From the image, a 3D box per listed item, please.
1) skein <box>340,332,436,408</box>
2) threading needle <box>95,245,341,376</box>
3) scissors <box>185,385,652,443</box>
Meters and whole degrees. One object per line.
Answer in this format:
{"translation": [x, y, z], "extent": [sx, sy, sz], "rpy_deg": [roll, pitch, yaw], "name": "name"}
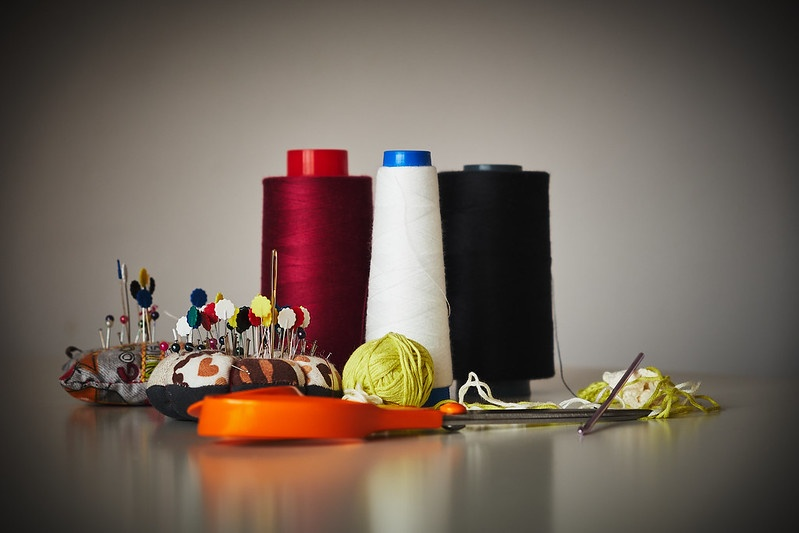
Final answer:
{"translation": [-0.036, 0.258, 2.052], "extent": [0.219, 0.183, 0.165], "rpy_deg": [0, 11, -9], "name": "skein"}
{"translation": [-0.462, 0.131, 2.110], "extent": [0.563, 0.211, 0.377], "rpy_deg": [2, -3, -37], "name": "threading needle"}
{"translation": [0.055, 0.332, 1.835], "extent": [1.010, 0.119, 0.301], "rpy_deg": [2, -8, -11], "name": "scissors"}
